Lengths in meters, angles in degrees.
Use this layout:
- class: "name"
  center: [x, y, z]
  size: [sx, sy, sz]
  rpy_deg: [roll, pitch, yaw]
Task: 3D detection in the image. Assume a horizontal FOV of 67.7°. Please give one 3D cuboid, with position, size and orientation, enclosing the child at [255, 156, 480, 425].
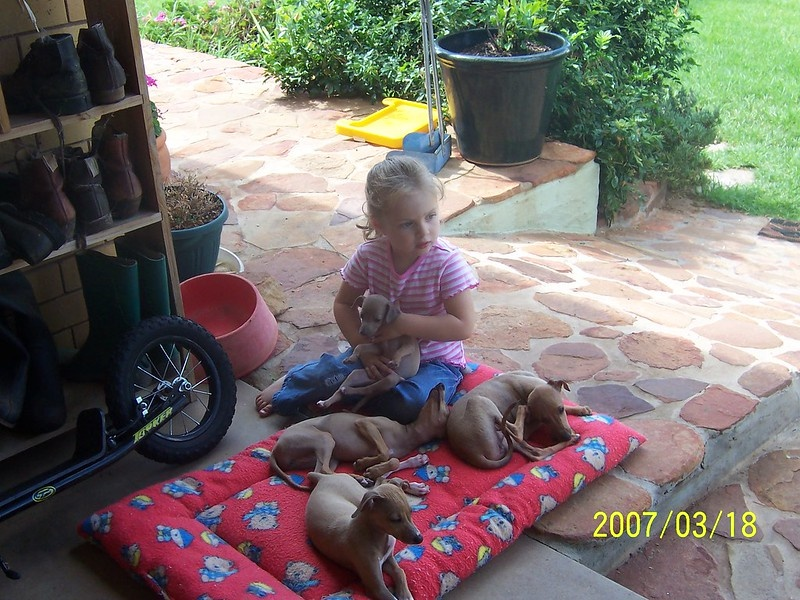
- class: "child"
  center: [-0.129, -0.054, 2.540]
  size: [0.944, 1.059, 0.708]
  rpy_deg: [-6, 21, -24]

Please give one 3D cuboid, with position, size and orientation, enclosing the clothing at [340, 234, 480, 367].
- class: "clothing"
  center: [0.035, 0.023, 2.580]
  size: [0.561, 0.478, 0.298]
  rpy_deg: [10, 33, 30]

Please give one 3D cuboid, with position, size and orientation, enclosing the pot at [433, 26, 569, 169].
- class: "pot"
  center: [0.720, -1.690, 5.123]
  size: [1.163, 0.884, 1.123]
  rpy_deg: [-1, 28, 0]

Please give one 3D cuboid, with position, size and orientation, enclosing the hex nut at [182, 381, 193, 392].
- class: "hex nut"
  center: [-0.879, 0.360, 2.483]
  size: [0.042, 0.040, 0.051]
  rpy_deg: [-3, 0, -15]

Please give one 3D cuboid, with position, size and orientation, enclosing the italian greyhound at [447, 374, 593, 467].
- class: "italian greyhound"
  center: [0.455, 0.467, 2.401]
  size: [0.420, 0.153, 0.355]
  rpy_deg: [-10, 20, 3]
